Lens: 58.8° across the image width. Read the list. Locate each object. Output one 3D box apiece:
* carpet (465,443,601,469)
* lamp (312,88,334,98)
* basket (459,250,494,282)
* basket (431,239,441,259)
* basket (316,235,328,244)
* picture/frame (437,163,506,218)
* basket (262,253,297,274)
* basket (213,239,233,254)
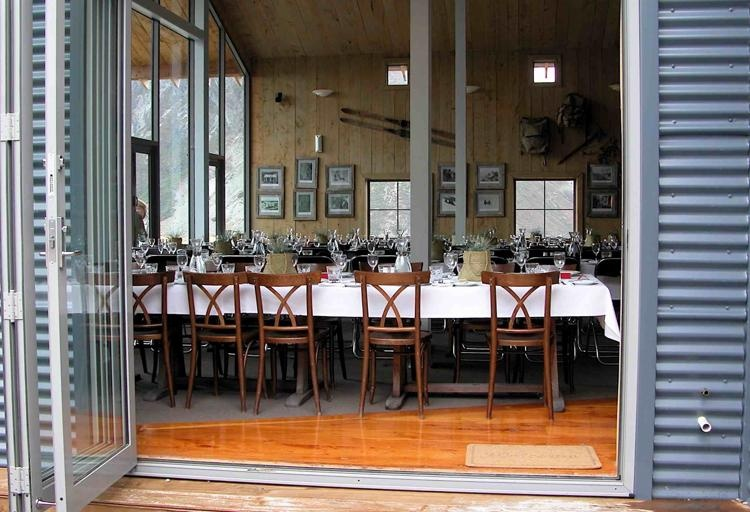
[{"bbox_3d":[0.928,1.207,4.009,0.776,0.052,0.354,-3,0,5],"label":"carpet"},{"bbox_3d":[-0.877,-2.848,11.567,0.401,0.164,0.413,-3,0,-1],"label":"lamp"},{"bbox_3d":[0.778,0.077,5.111,0.230,0.195,0.220,2,0,10],"label":"basket"},{"bbox_3d":[0.664,-0.070,7.199,0.173,0.226,0.176,0,-2,7],"label":"basket"},{"bbox_3d":[-0.750,-0.232,9.696,0.129,0.097,0.127,1,-2,-39],"label":"basket"},{"bbox_3d":[1.653,-1.109,11.415,1.142,0.926,0.149,-2,1,5],"label":"picture/frame"},{"bbox_3d":[-0.727,0.059,5.267,0.186,0.187,0.186,-7,-9,44],"label":"basket"},{"bbox_3d":[-1.733,-0.103,7.652,0.210,0.164,0.216,-1,-1,22],"label":"basket"}]
